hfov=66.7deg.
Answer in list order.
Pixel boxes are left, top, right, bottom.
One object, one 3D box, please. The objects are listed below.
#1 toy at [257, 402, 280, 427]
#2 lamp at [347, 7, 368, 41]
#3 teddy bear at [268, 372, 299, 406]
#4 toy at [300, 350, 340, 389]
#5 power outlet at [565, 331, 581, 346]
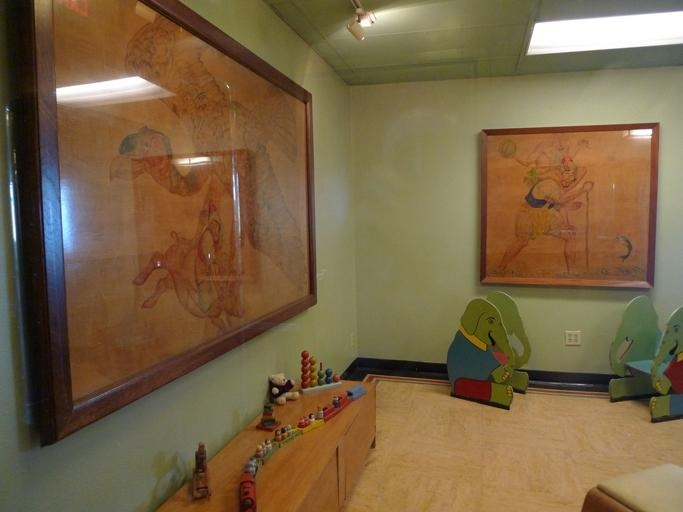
[{"bbox_3d":[-0.352,0.786,2.566,0.095,0.119,0.115,0,1,15],"label":"toy"},{"bbox_3d":[0.089,-1.325,2.994,0.103,0.127,0.316,-1,12,2],"label":"lamp"},{"bbox_3d":[-0.306,0.701,2.784,0.146,0.189,0.149,-9,-6,34],"label":"teddy bear"},{"bbox_3d":[-0.115,0.650,2.972,0.241,0.225,0.067,-2,1,-32],"label":"toy"},{"bbox_3d":[1.753,0.614,3.907,0.098,0.112,0.014,1,3,12],"label":"power outlet"}]
